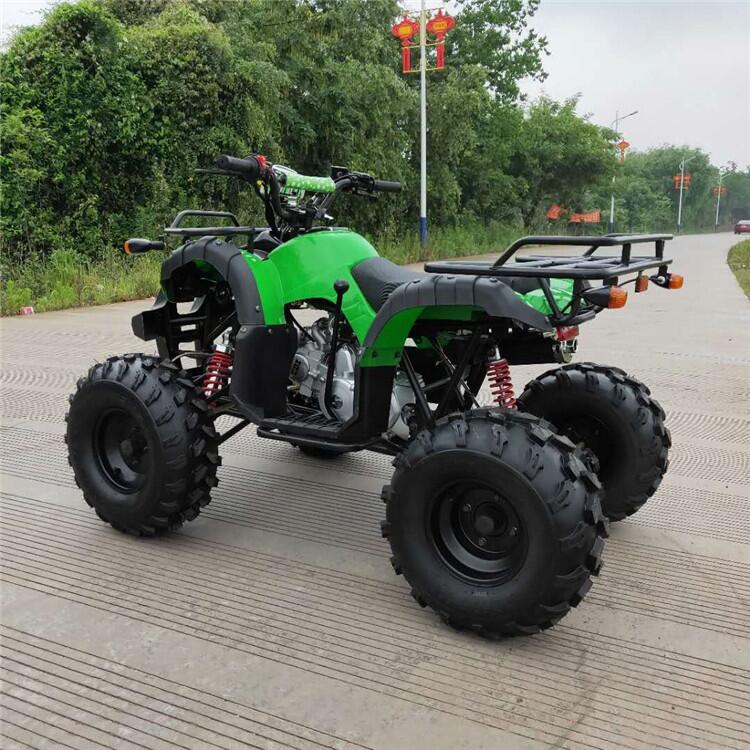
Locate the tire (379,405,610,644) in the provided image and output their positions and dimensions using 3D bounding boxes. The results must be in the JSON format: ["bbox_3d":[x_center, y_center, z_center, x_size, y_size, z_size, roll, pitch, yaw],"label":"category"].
[{"bbox_3d":[0.413,0.569,2.470,0.839,0.741,0.293,9,11,38],"label":"tire"}]

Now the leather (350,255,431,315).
[{"bbox_3d":[0.059,-0.401,3.052,0.261,0.228,0.275,-5,13,-23],"label":"leather"}]

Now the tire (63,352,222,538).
[{"bbox_3d":[-1.089,0.359,3.263,0.899,0.785,0.276,10,2,26],"label":"tire"}]

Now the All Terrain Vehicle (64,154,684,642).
[{"bbox_3d":[0.019,-0.122,3.408,2.673,1.586,1.830,10,22,34],"label":"All Terrain Vehicle"}]
